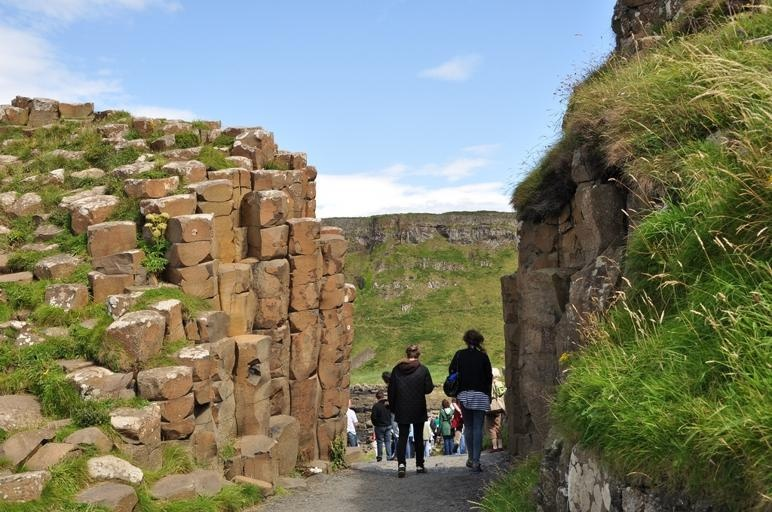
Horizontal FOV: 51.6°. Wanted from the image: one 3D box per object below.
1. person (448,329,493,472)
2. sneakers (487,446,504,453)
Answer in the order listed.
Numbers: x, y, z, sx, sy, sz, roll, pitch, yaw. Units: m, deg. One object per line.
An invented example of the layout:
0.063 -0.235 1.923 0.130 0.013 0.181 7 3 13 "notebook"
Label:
1.662 2.776 15.414 0.848 2.008 0.604 -4 -2 19 "person"
2.564 4.504 18.702 0.322 0.137 0.120 -1 -7 4 "sneakers"
